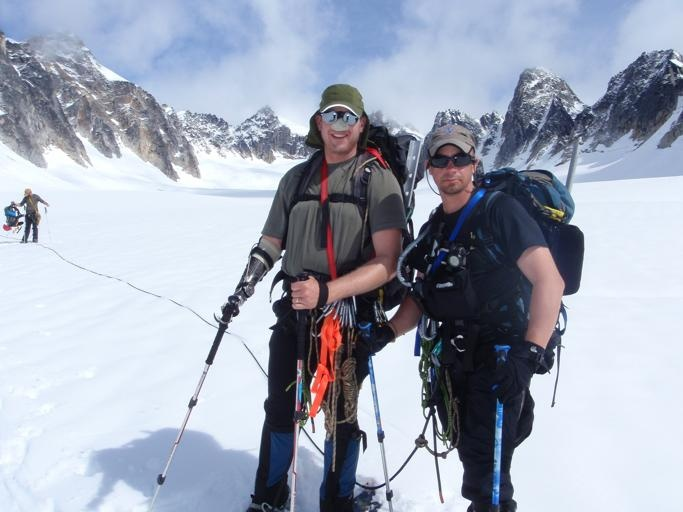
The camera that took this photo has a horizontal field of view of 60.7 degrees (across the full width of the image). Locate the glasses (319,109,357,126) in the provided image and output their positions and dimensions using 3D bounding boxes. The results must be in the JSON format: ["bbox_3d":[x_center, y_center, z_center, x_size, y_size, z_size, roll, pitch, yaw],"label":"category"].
[{"bbox_3d":[-0.014,-1.721,7.230,0.451,0.187,0.067,6,6,-7],"label":"glasses"}]

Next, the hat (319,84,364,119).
[{"bbox_3d":[0.000,-1.978,7.472,0.604,0.450,0.810,3,1,5],"label":"hat"}]

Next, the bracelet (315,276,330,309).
[{"bbox_3d":[-0.229,0.465,7.020,0.147,0.370,0.347,6,6,-4],"label":"bracelet"}]
